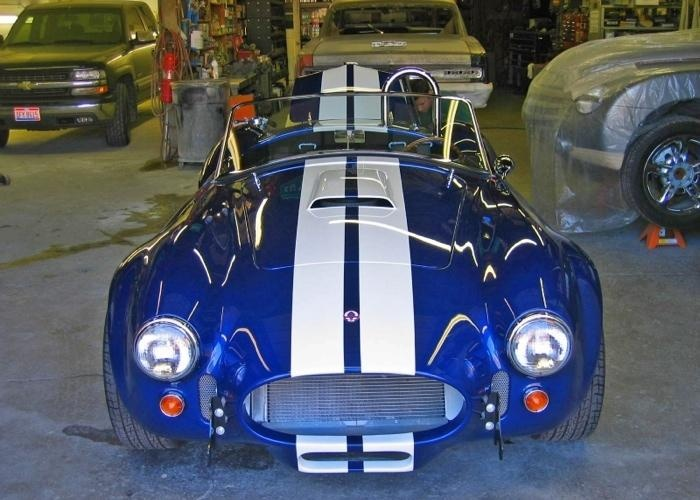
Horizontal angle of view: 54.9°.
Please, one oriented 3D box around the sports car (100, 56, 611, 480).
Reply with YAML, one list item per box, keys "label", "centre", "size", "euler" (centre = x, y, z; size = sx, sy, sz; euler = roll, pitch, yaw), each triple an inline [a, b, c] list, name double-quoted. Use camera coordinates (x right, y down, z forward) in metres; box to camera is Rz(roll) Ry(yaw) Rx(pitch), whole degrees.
- label: "sports car"
  centre: [0.134, -0.785, 4.636]
  size: [2.457, 1.456, 4.324]
  euler: [0, 37, 6]
